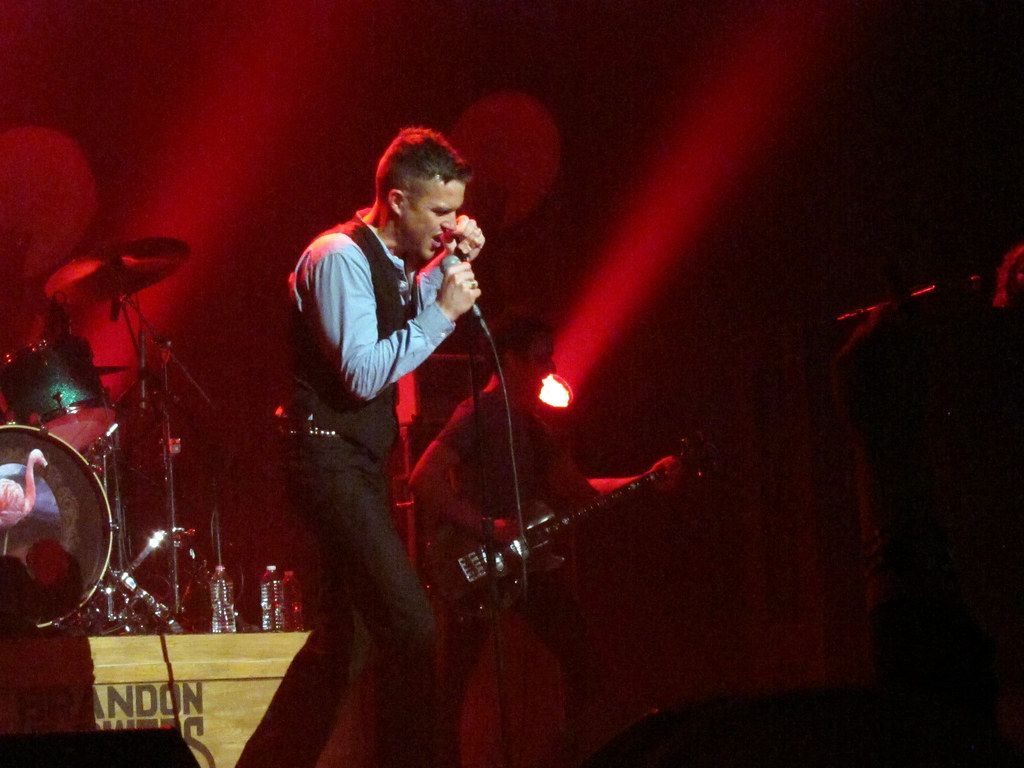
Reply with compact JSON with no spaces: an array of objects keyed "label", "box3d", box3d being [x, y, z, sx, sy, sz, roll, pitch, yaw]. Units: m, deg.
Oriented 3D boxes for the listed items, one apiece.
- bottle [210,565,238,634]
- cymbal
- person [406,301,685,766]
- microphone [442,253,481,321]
[{"label":"bottle","box3d":[-1.566,1.145,5.461,0.160,0.340,0.566,4,-12,-16]},{"label":"cymbal","box3d":[-2.118,-0.615,5.453,0.531,0.191,0.468,-12,-38,-23]},{"label":"person","box3d":[0.140,0.747,4.626,0.808,2.789,1.166,-17,-26,37]},{"label":"microphone","box3d":[-0.195,-0.350,3.691,0.142,0.221,0.092,-13,2,-20]}]
